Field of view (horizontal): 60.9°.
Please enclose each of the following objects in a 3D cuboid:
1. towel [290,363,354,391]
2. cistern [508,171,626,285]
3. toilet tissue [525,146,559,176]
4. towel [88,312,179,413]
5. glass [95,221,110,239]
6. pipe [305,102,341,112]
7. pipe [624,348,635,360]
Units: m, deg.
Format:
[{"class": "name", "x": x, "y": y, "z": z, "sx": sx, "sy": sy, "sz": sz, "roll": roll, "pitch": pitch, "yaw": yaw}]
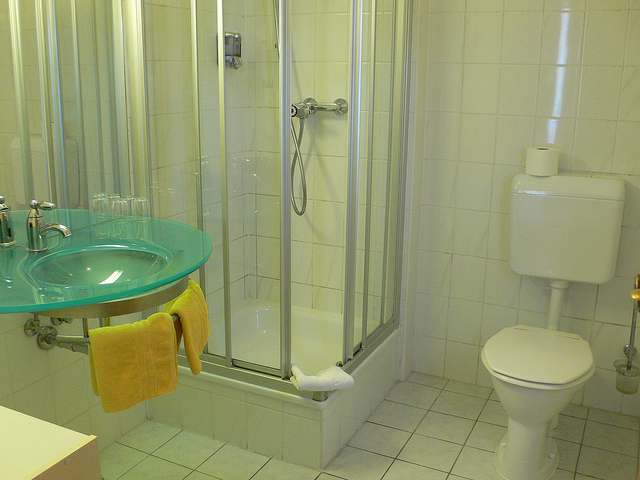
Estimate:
[{"class": "towel", "x": 0.008, "y": 0.617, "z": 2.453, "sx": 0.283, "sy": 0.097, "sz": 0.171, "roll": -5, "pitch": 18, "yaw": -14}, {"class": "cistern", "x": 1.241, "y": -0.057, "z": 2.843, "sx": 0.543, "sy": 0.526, "sz": 0.322, "roll": 5, "pitch": 2, "yaw": 20}, {"class": "toilet tissue", "x": 1.125, "y": -0.408, "z": 2.798, "sx": 0.153, "sy": 0.119, "sz": 0.149, "roll": -1, "pitch": 7, "yaw": -11}, {"class": "towel", "x": -0.561, "y": 0.378, "z": 1.650, "sx": 0.258, "sy": 0.230, "sz": 0.109, "roll": -3, "pitch": -4, "yaw": -44}, {"class": "glass", "x": -0.720, "y": -0.038, "z": 1.808, "sx": 0.060, "sy": 0.065, "sz": 0.059, "roll": -2, "pitch": 6, "yaw": -41}, {"class": "pipe", "x": 0.021, "y": -0.689, "z": 2.802, "sx": 0.174, "sy": 0.044, "sz": 0.054, "roll": 1, "pitch": 18, "yaw": 3}, {"class": "pipe", "x": 1.566, "y": 0.573, "z": 2.742, "sx": 0.036, "sy": 0.040, "sz": 0.018, "roll": 10, "pitch": -10, "yaw": 1}]
